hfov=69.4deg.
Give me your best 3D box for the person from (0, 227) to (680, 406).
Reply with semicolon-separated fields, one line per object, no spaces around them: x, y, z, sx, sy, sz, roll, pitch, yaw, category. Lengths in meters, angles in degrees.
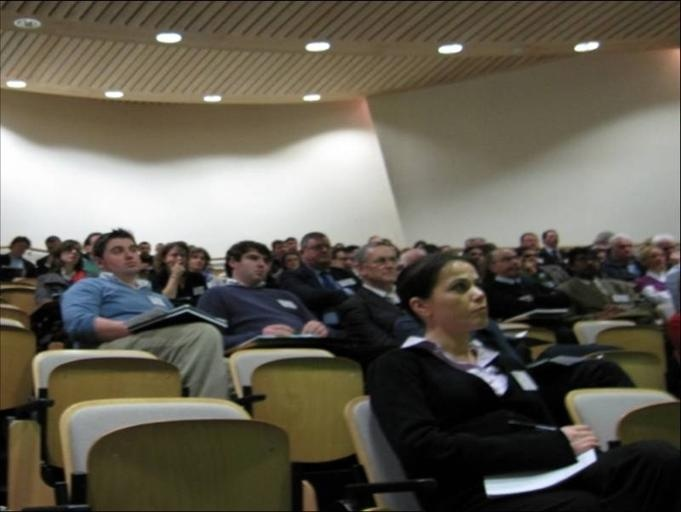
0.320;0.281;1.863;1.615;0.587;0.336;2;-8;-4;person
